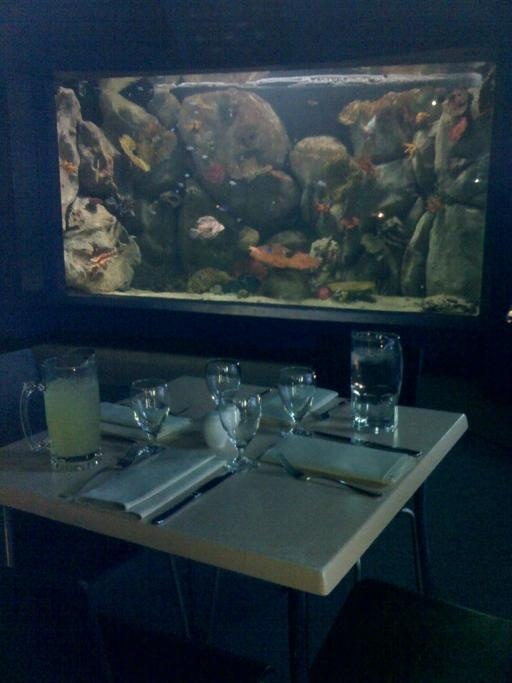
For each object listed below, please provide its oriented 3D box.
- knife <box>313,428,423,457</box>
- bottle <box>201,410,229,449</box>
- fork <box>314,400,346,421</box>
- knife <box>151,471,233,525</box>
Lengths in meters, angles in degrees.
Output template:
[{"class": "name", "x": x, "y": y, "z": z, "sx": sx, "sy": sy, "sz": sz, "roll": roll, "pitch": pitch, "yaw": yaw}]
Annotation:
[{"class": "knife", "x": 0.166, "y": 0.155, "z": 1.011, "sx": 0.216, "sy": 0.015, "sz": 0.053, "roll": 8, "pitch": 9, "yaw": 37}, {"class": "bottle", "x": -0.067, "y": 0.141, "z": 1.022, "sx": 0.043, "sy": 0.066, "sz": 0.050, "roll": -3, "pitch": 6, "yaw": -5}, {"class": "fork", "x": 0.145, "y": 0.135, "z": 1.203, "sx": 0.023, "sy": 0.008, "sz": 0.149, "roll": -2, "pitch": 11, "yaw": 22}, {"class": "knife", "x": -0.073, "y": 0.188, "z": 0.844, "sx": 0.028, "sy": 0.012, "sz": 0.227, "roll": 7, "pitch": 14, "yaw": 25}]
